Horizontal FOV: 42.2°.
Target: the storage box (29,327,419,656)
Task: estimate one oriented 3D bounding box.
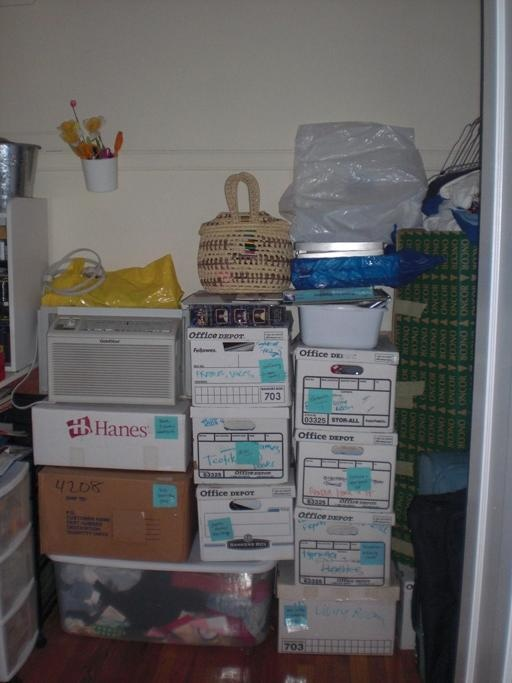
[{"bbox_3d":[0.048,0.339,2.353,1.128,0.742,1.018,1,20,4],"label":"storage box"}]

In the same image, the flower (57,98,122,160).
[{"bbox_3d":[-0.550,-0.724,2.228,0.199,0.183,0.165,8,35,13],"label":"flower"}]

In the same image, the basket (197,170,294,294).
[{"bbox_3d":[-0.031,-0.322,2.009,0.284,0.370,0.197,-5,12,-14],"label":"basket"}]

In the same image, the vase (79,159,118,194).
[{"bbox_3d":[-0.499,-0.538,2.163,0.125,0.082,0.105,-2,15,-5],"label":"vase"}]
